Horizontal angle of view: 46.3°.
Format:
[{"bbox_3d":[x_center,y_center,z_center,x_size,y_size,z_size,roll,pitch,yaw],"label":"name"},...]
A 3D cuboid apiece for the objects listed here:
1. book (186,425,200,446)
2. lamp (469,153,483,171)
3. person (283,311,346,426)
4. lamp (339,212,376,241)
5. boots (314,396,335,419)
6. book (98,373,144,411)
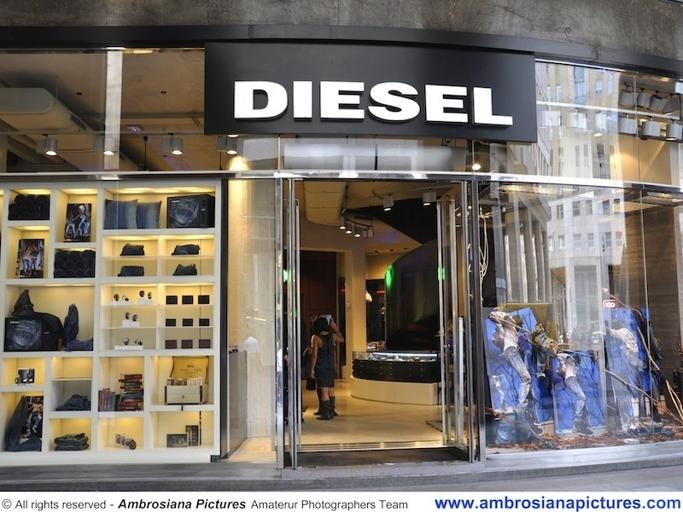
[{"bbox_3d":[-1.898,2.296,10.192,0.192,0.256,0.068,-1,4,-10],"label":"book"},{"bbox_3d":[1.757,-1.227,10.446,0.138,0.190,0.062,-4,3,-13],"label":"lamp"},{"bbox_3d":[-0.277,1.849,13.212,0.531,1.713,0.709,0,4,0],"label":"person"},{"bbox_3d":[0.283,-0.706,18.145,0.329,0.510,1.224,-5,-13,24],"label":"lamp"},{"bbox_3d":[-0.261,2.502,13.139,0.323,0.360,0.488,0,4,-1],"label":"boots"},{"bbox_3d":[-2.837,1.769,10.233,0.459,0.432,0.184,0,-3,0],"label":"book"}]
